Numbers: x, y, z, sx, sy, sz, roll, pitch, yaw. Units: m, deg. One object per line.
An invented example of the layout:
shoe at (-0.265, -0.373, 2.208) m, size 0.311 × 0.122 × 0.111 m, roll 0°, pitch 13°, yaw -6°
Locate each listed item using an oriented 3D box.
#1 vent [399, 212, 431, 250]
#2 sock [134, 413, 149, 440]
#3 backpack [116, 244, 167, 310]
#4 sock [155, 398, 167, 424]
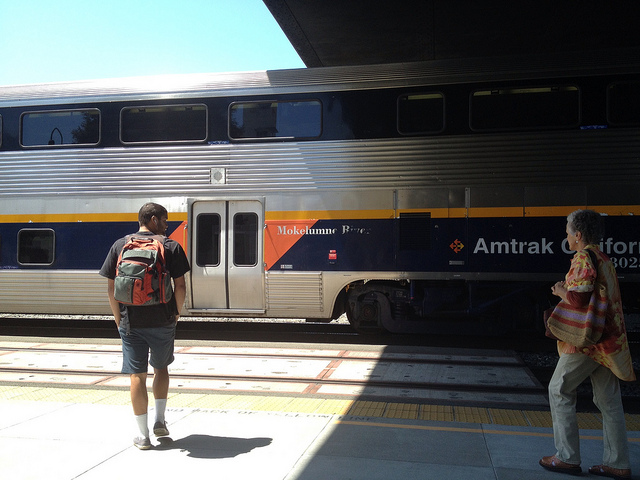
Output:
vent at (1.660, -0.157, 8.442) m, size 0.589 × 0.601 × 0.333 m, roll 0°, pitch -3°, yaw 7°
sock at (-1.684, 1.762, 4.690) m, size 0.117 × 0.249 × 0.151 m, roll 0°, pitch 0°, yaw -21°
backpack at (-1.699, 0.301, 4.685) m, size 0.481 × 0.667 × 0.368 m, roll 2°, pitch 3°, yaw 11°
sock at (-1.553, 1.670, 4.813) m, size 0.106 × 0.258 × 0.077 m, roll 0°, pitch 0°, yaw -12°
